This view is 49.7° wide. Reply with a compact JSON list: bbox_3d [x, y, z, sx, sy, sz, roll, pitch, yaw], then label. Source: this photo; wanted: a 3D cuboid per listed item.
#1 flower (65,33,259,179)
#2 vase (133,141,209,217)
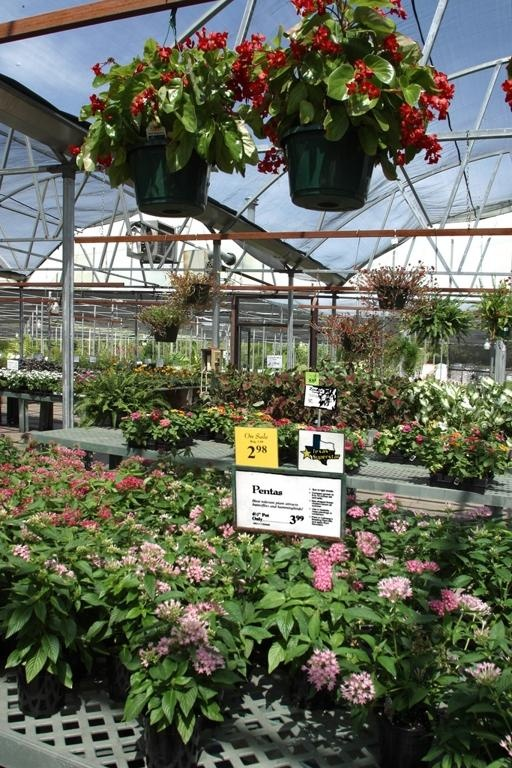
[{"bbox_3d":[-0.245,-0.737,1.396,0.466,0.323,0.353,-5,40,-13],"label":"flower"},{"bbox_3d":[-0.231,-0.552,1.530,0.172,0.122,0.175,3,7,2],"label":"vase"}]
